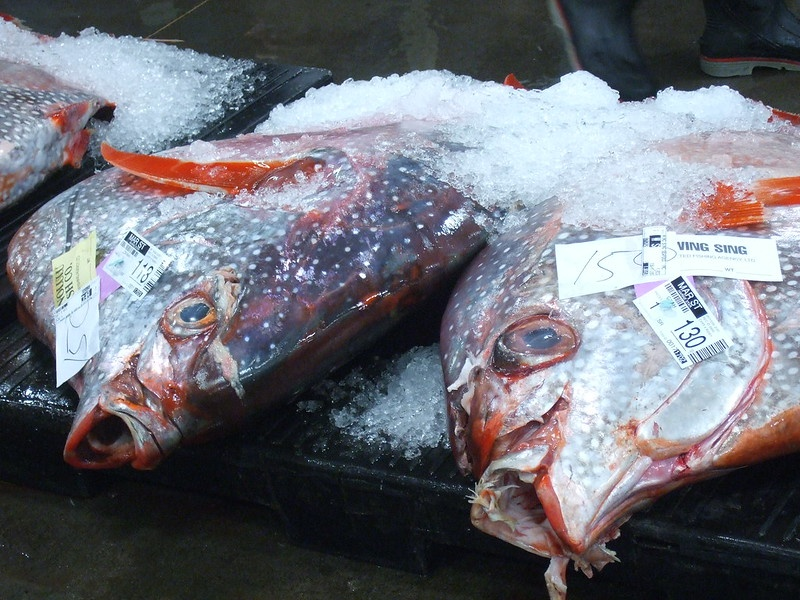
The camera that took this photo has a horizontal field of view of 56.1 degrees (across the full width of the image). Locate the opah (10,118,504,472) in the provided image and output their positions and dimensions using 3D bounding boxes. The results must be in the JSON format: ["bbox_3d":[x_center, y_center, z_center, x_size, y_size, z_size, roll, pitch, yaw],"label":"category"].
[{"bbox_3d":[-0.473,-0.180,2.195,1.312,0.357,0.921,-30,56,-18],"label":"opah"}]
